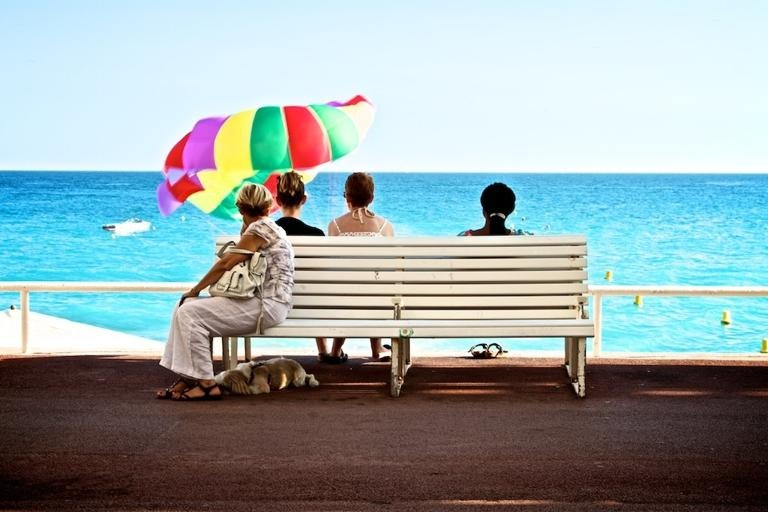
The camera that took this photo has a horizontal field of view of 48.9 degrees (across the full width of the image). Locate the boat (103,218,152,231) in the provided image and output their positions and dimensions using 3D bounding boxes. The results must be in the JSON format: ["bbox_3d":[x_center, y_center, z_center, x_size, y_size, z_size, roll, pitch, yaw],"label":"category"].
[{"bbox_3d":[-14.312,-1.579,46.736,2.480,0.759,1.096,-3,14,1],"label":"boat"}]

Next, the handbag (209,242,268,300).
[{"bbox_3d":[-1.276,0.139,7.809,0.371,0.568,0.637,4,-5,-40],"label":"handbag"}]

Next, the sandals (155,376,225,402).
[{"bbox_3d":[-1.745,1.219,7.665,0.460,0.138,0.245,3,-3,3],"label":"sandals"}]

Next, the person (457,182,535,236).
[{"bbox_3d":[1.166,-0.520,8.662,0.806,0.597,0.490,3,20,22],"label":"person"}]

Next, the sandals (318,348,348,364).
[{"bbox_3d":[-0.547,1.075,8.945,0.118,0.107,0.288,4,2,41],"label":"sandals"}]
